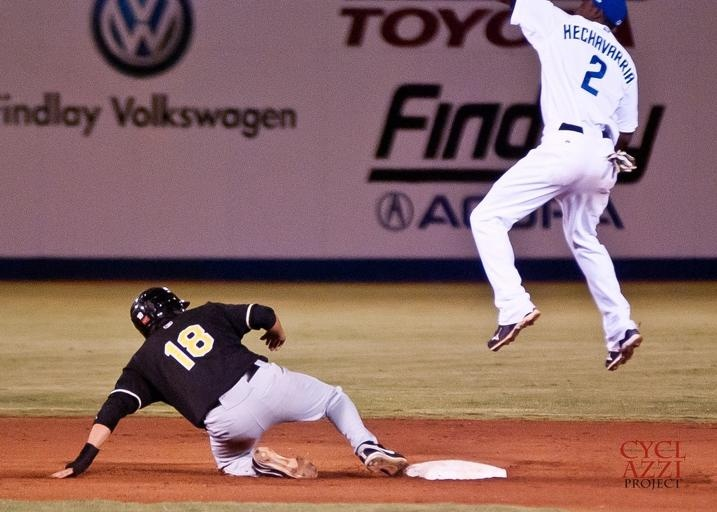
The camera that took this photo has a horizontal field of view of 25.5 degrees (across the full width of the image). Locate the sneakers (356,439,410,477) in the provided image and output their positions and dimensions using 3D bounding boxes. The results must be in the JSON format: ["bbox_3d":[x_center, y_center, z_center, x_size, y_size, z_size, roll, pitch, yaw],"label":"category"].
[{"bbox_3d":[0.187,1.887,14.756,0.554,0.234,0.264,26,25,-36],"label":"sneakers"}]

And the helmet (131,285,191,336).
[{"bbox_3d":[-1.860,0.512,14.984,0.525,0.390,0.379,-11,-6,-19],"label":"helmet"}]

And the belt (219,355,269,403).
[{"bbox_3d":[-1.041,1.174,14.657,0.442,0.106,0.311,-39,18,-2],"label":"belt"}]

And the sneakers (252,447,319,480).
[{"bbox_3d":[-0.702,1.960,14.888,0.529,0.153,0.277,9,14,-3],"label":"sneakers"}]

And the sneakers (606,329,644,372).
[{"bbox_3d":[2.628,0.938,15.816,0.178,0.482,0.250,24,24,-23],"label":"sneakers"}]
